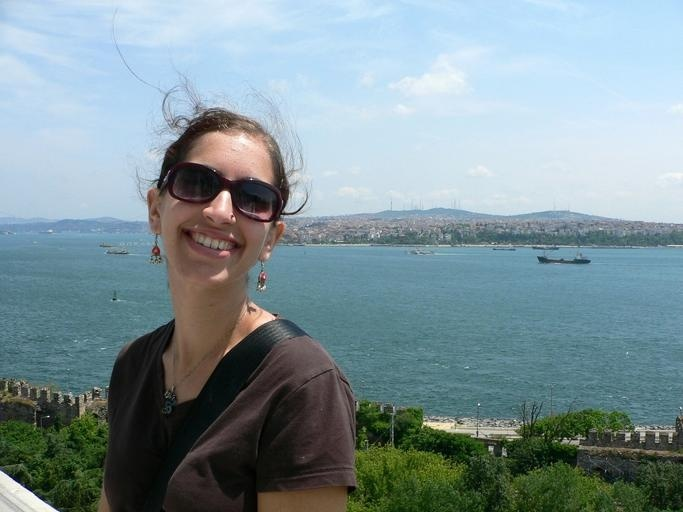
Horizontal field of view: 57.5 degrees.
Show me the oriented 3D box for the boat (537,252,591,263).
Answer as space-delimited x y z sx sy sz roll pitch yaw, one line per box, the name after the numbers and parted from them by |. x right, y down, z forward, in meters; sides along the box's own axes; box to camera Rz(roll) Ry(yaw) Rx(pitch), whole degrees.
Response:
41.928 0.150 118.029 10.494 1.677 2.463 1 -3 16 | boat
